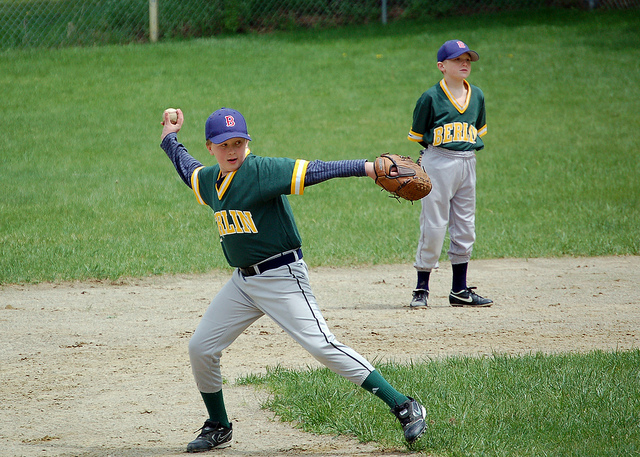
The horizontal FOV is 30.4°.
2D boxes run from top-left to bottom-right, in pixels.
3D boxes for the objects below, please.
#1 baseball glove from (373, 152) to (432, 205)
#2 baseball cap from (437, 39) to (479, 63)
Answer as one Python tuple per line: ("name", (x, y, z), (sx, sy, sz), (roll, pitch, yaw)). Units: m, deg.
("baseball glove", (1.007, -0.542, 13.868), (0.533, 0.338, 0.720), (0, -13, 13))
("baseball cap", (1.836, -2.448, 16.377), (0.429, 0.234, 0.319), (-3, 5, 42))
